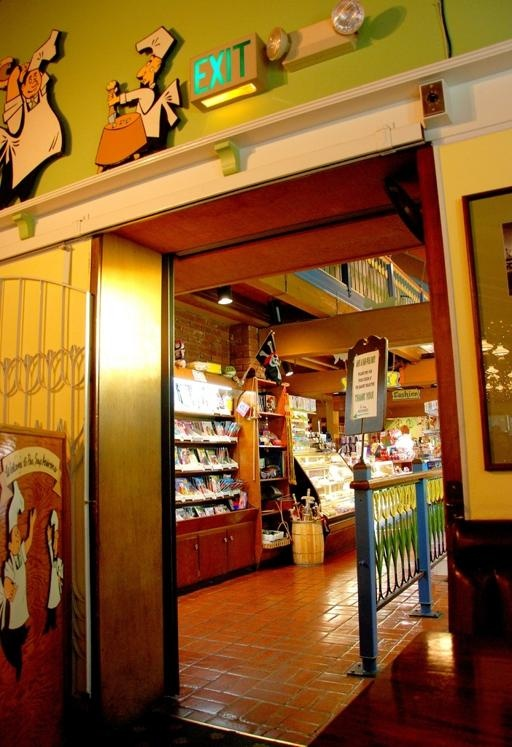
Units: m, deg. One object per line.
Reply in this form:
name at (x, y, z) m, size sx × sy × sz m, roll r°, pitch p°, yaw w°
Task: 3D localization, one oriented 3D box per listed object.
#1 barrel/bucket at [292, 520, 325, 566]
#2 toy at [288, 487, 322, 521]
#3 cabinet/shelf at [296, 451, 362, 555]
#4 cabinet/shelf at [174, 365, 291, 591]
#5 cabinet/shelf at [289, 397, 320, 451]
barrel/bucket at (0.680, 2.161, 6.721) m, size 0.386 × 0.558 × 0.398 m, roll -1°, pitch -13°, yaw 0°
toy at (0.636, 1.688, 6.807) m, size 0.430 × 0.465 × 0.399 m, roll -1°, pitch -16°, yaw 4°
cabinet/shelf at (1.146, 1.927, 7.758) m, size 0.489 × 1.315 × 1.299 m, roll -6°, pitch -9°, yaw 37°
cabinet/shelf at (-0.319, 1.340, 6.344) m, size 0.673 × 2.306 × 2.357 m, roll -5°, pitch -5°, yaw 26°
cabinet/shelf at (0.673, 0.871, 8.705) m, size 0.325 × 0.921 × 0.961 m, roll -8°, pitch -11°, yaw 26°
